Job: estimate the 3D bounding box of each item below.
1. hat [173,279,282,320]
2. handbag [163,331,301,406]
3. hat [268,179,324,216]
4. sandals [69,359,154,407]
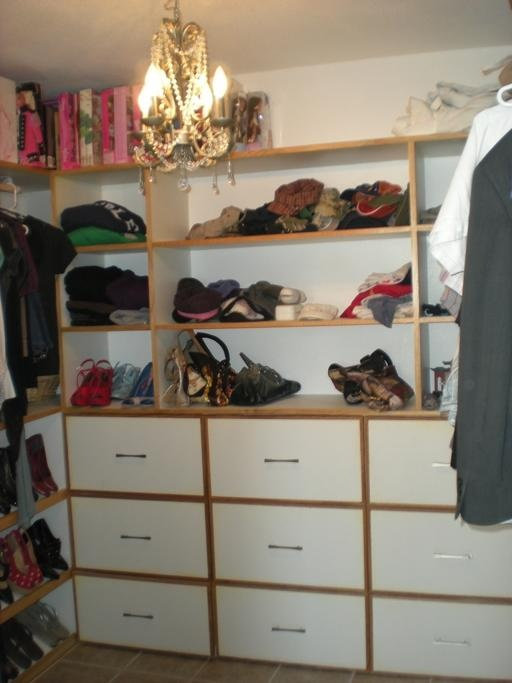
[{"bbox_3d":[-0.113,-0.159,2.350,0.291,0.112,0.219,0,6,2],"label":"hat"},{"bbox_3d":[-0.101,0.128,2.368,0.501,0.227,0.289,7,13,26],"label":"handbag"},{"bbox_3d":[0.152,-0.554,2.223,0.194,0.057,0.136,-35,40,-13],"label":"hat"},{"bbox_3d":[-0.615,0.182,2.568,0.212,0.082,0.278,0,14,-9],"label":"sandals"}]
